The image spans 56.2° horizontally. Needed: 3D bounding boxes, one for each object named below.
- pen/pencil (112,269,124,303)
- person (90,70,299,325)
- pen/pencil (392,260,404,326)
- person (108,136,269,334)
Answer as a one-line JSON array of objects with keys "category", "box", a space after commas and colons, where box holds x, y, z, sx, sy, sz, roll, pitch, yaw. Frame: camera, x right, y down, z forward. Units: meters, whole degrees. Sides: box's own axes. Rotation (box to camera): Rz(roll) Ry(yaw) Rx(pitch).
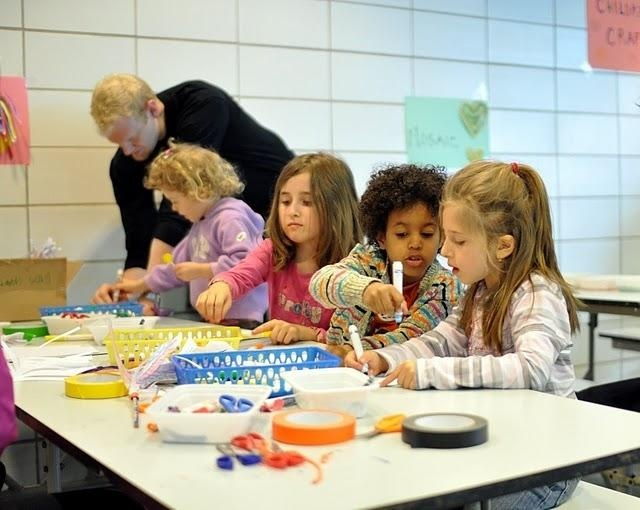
[{"category": "pen/pencil", "box": [-0.769, 0.122, 2.283, 0.026, 0.023, 0.135, 4, 45, 7]}, {"category": "person", "box": [-0.541, -0.291, 2.632, 1.036, 0.952, 0.514, -14, 8, -34]}, {"category": "pen/pencil", "box": [0.173, 0.059, 1.348, 0.025, 0.202, 0.027, -3, -1, 2]}, {"category": "person", "box": [-0.471, -0.123, 2.219, 0.465, 0.815, 0.447, -3, 6, -39]}]
